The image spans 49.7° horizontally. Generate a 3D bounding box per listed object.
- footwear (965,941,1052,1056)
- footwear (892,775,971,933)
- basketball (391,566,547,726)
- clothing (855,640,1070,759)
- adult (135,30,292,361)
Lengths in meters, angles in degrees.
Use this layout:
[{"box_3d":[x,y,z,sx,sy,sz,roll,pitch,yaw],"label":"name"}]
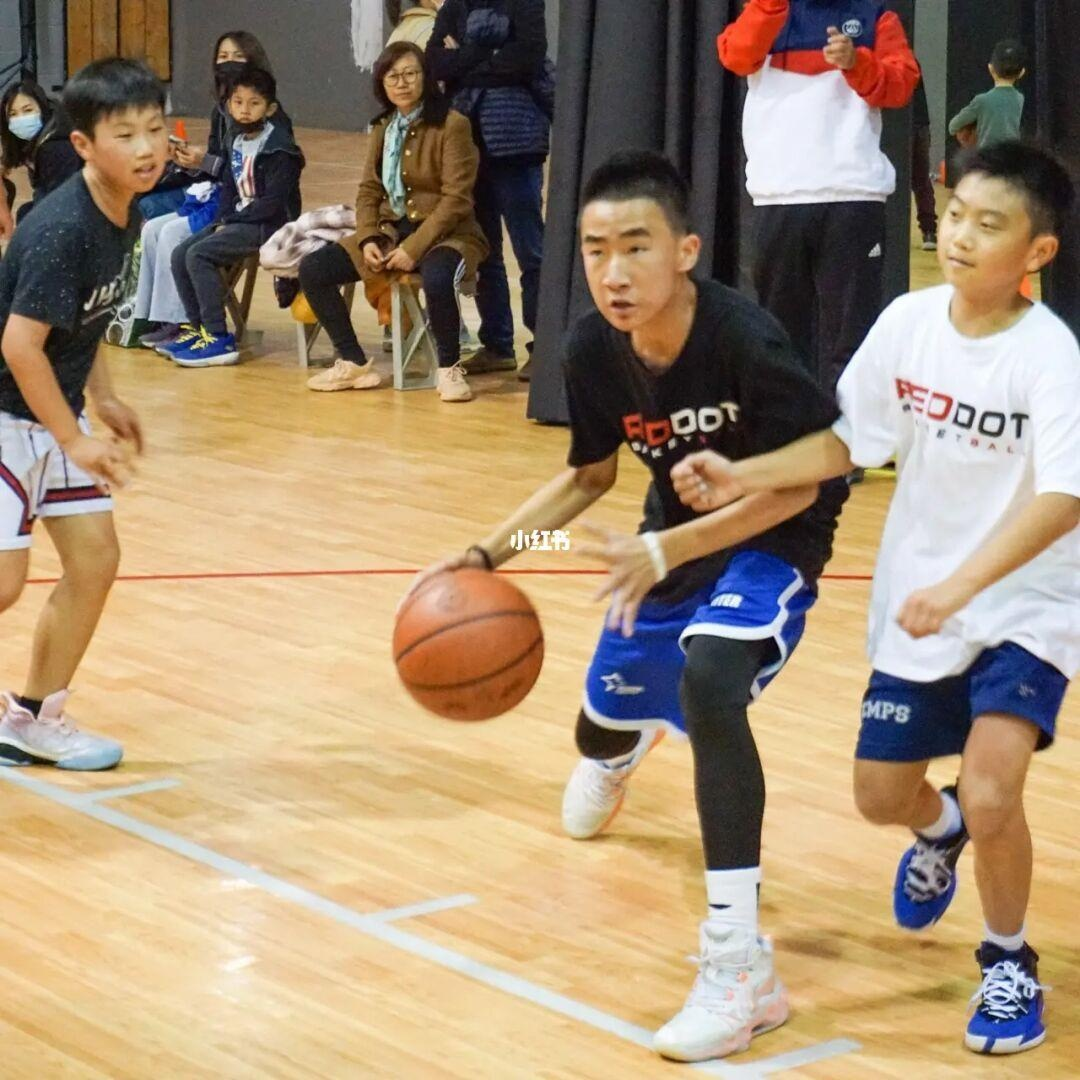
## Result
[{"box_3d":[0.611,0.599,1.527,0.074,0.076,0.191,-4,10,21],"label":"footwear"},{"box_3d":[0.672,0.495,1.888,0.098,0.108,0.265,19,64,31],"label":"footwear"},{"box_3d":[-0.060,0.155,1.822,0.267,0.253,0.230,-4,2,6],"label":"basketball"},{"box_3d":[0.574,0.216,1.588,0.191,0.149,0.105,-6,-19,36],"label":"clothing"},{"box_3d":[-2.074,-2.093,7.269,0.751,1.888,1.068,26,22,2],"label":"adult"}]
